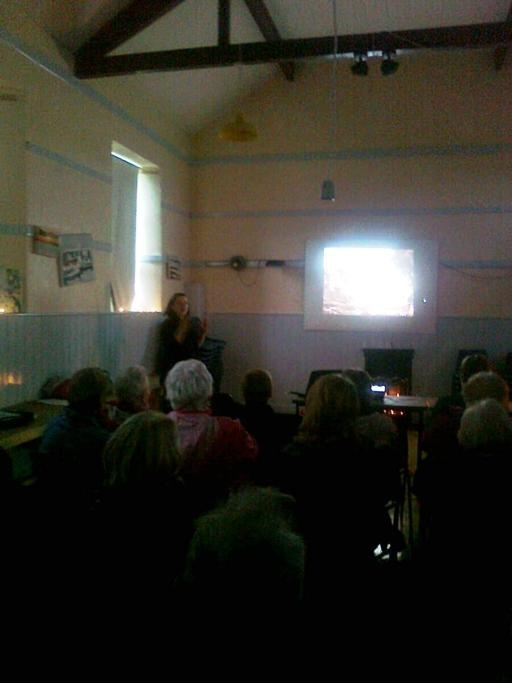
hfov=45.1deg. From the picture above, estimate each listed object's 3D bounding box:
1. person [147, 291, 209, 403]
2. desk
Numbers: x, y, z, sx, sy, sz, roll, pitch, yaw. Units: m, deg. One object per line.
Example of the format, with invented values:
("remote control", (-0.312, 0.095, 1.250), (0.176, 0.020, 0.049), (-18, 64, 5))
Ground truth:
("person", (-0.685, 0.244, 5.626), (0.381, 1.372, 0.386), (20, 22, 40))
("desk", (1.074, 0.665, 4.525), (0.545, 0.532, 0.577), (9, 0, 29))
